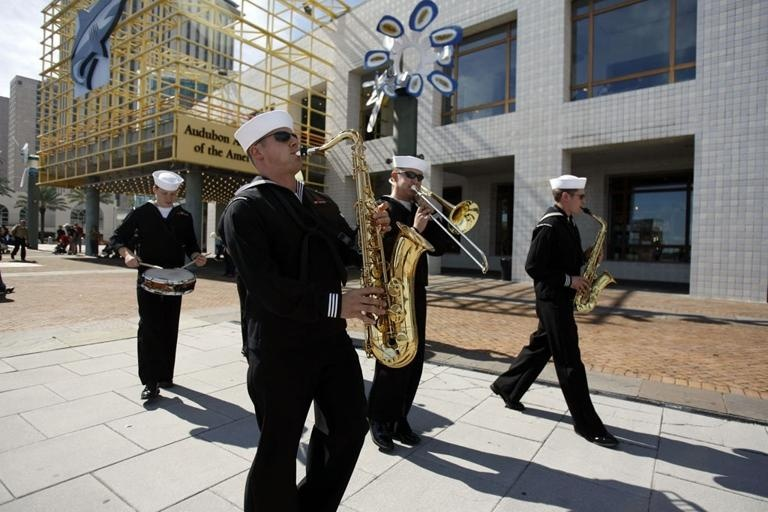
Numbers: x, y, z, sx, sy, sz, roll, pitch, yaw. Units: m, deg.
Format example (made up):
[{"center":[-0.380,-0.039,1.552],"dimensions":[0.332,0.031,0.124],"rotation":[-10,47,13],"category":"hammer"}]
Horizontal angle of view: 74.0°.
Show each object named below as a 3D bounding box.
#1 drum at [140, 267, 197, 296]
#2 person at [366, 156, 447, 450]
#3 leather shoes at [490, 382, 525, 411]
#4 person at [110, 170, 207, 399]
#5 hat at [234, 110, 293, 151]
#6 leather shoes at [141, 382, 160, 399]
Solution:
[{"center":[-2.879,0.331,6.747],"dimensions":[0.663,0.391,0.379],"rotation":[-2,5,-26],"category":"drum"},{"center":[0.262,0.701,6.142],"dimensions":[0.982,3.801,1.042],"rotation":[5,24,11],"category":"person"},{"center":[1.563,1.839,6.672],"dimensions":[0.188,0.261,0.569],"rotation":[7,-3,-37],"category":"leather shoes"},{"center":[-3.082,0.294,7.185],"dimensions":[1.137,3.236,1.409],"rotation":[0,-4,-28],"category":"person"},{"center":[-1.248,-1.245,4.966],"dimensions":[0.380,0.190,0.492],"rotation":[-32,6,-30],"category":"hat"},{"center":[-3.083,1.755,6.669],"dimensions":[0.228,0.207,0.149],"rotation":[-3,5,-27],"category":"leather shoes"}]
